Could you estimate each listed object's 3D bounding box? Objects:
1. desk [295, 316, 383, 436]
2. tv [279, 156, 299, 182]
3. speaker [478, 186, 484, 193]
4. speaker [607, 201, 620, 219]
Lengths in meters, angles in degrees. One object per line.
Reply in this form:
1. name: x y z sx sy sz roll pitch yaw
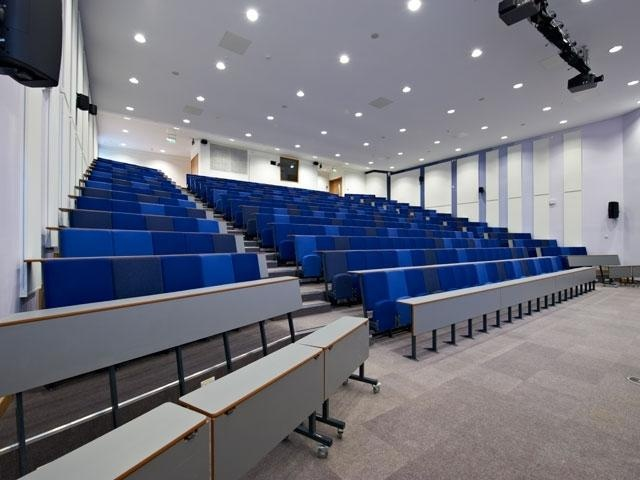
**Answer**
1. desk: 0.025 0.738 2.121 0.311 0.461 0.699 5 9 35
2. tv: -0.836 -1.852 9.959 0.047 0.674 0.618 7 6 39
3. speaker: 3.594 -1.116 8.480 0.110 0.136 0.115 2 3 33
4. speaker: 4.889 -0.486 6.342 0.167 0.327 0.223 -4 -1 39
